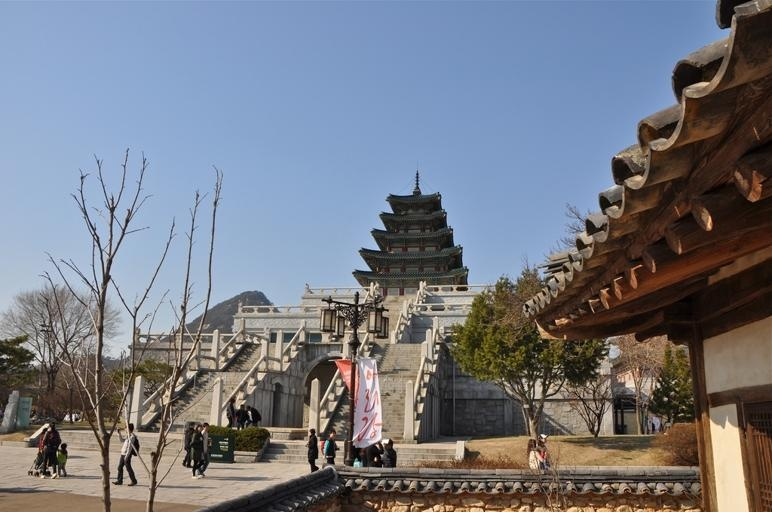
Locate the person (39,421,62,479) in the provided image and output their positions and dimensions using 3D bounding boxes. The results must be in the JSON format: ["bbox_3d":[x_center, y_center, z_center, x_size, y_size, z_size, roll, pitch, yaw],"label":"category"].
[{"bbox_3d":[-8.021,4.597,16.426,0.403,1.112,0.367,0,5,-37],"label":"person"}]

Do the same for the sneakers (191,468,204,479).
[{"bbox_3d":[-4.676,5.501,17.215,0.387,0.281,0.133,-1,-9,4],"label":"sneakers"}]

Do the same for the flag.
[{"bbox_3d":[-0.417,3.387,15.877,0.647,2.034,0.452,5,-19,-4],"label":"flag"}]

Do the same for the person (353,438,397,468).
[{"bbox_3d":[-0.259,4.600,15.904,0.879,0.646,2.143,4,-20,-2],"label":"person"}]

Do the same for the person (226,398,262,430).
[{"bbox_3d":[-4.867,5.358,23.194,1.067,1.143,1.643,9,-21,-15],"label":"person"}]

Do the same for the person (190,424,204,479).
[{"bbox_3d":[-4.741,4.937,17.282,0.391,1.261,0.894,8,-20,-13],"label":"person"}]
